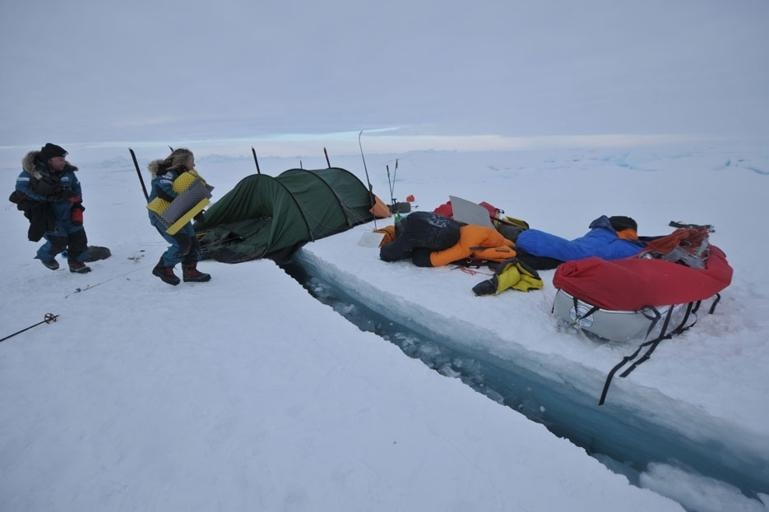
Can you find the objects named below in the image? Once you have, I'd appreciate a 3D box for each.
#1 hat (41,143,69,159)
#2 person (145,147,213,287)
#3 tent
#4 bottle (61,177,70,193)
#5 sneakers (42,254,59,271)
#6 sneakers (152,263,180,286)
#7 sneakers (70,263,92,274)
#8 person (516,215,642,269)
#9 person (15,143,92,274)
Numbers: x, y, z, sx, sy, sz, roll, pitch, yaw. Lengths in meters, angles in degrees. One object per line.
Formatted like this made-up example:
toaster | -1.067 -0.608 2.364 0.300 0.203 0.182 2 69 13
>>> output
hat | -4.693 -1.464 7.110 0.301 0.209 0.278 -13 22 -26
person | -2.780 -0.481 6.847 0.971 1.841 0.583 -8 22 -10
tent | -1.711 -0.828 9.413 2.063 0.858 2.907 12 20 39
bottle | -4.621 -1.031 7.312 0.160 0.185 0.206 2 -1 -17
sneakers | -5.092 0.104 7.657 0.303 0.117 0.098 30 30 4
sneakers | -3.084 0.262 7.076 0.283 0.260 0.122 24 33 -24
sneakers | -4.633 0.186 7.648 0.312 0.116 0.144 3 12 9
person | 2.927 -0.177 7.496 1.638 0.502 0.879 -5 8 -4
person | -4.844 -0.637 7.367 0.899 1.918 0.352 -15 24 -24
